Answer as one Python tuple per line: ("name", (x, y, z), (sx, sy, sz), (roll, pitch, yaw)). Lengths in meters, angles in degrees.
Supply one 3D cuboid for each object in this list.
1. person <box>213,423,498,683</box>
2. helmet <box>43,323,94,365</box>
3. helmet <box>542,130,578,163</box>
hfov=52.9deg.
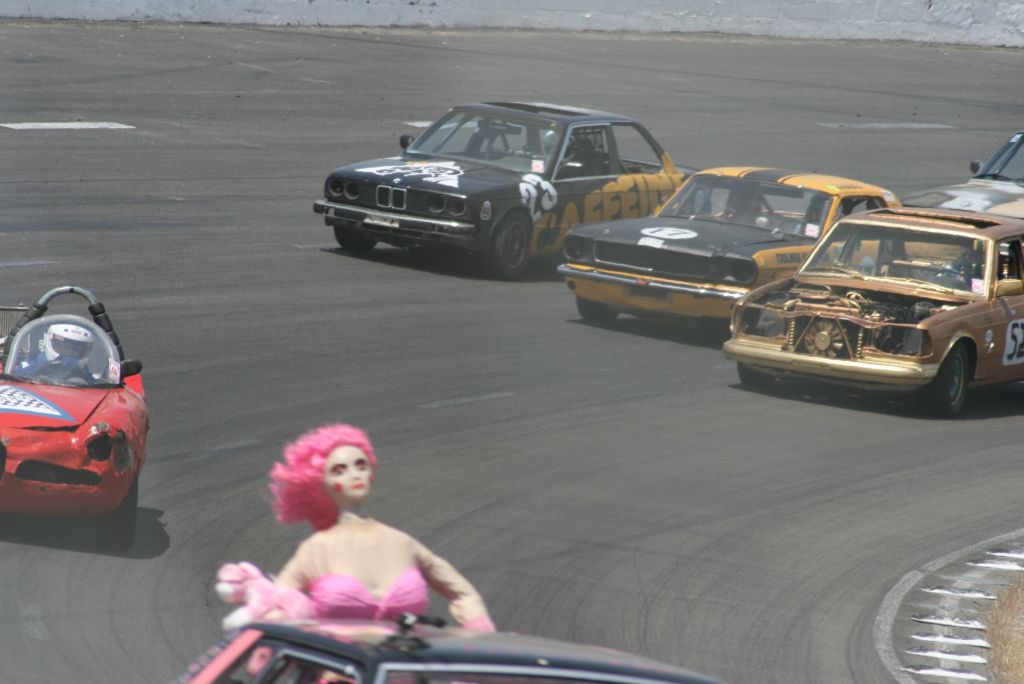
("person", (-0.730, 0.960, 4.772), (1.422, 0.603, 1.035), (-2, 69, -26))
("helmet", (-2.897, 0.001, 6.801), (0.314, 0.218, 0.231), (21, 8, -12))
("helmet", (0.673, -2.776, 14.348), (0.342, 0.230, 0.562), (5, 10, 23))
